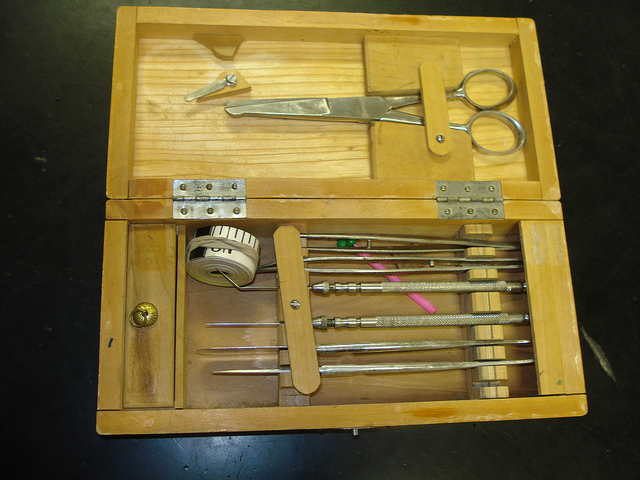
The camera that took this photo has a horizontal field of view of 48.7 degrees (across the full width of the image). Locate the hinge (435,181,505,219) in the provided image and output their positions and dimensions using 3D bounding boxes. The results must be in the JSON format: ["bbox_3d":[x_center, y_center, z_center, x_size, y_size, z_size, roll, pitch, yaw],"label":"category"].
[{"bbox_3d":[0.626,-0.167,2.940,0.271,0.031,0.164,-2,79,1],"label":"hinge"}]
